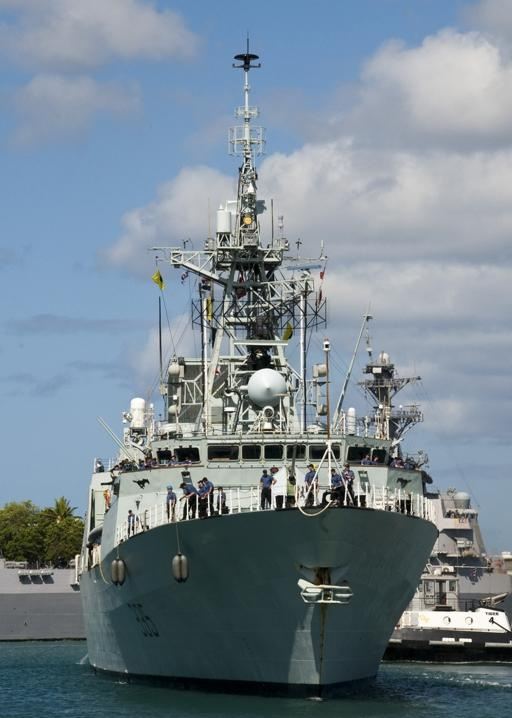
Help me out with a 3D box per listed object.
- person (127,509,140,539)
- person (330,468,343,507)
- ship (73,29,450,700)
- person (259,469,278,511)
[{"bbox_3d":[-2.811,3.788,31.131,0.366,0.332,0.979,-3,33,-5],"label":"person"},{"bbox_3d":[1.685,2.638,28.281,0.273,0.785,0.840,2,-10,4],"label":"person"},{"bbox_3d":[0.913,-0.350,32.680,8.421,16.224,15.868,4,-10,-10],"label":"ship"},{"bbox_3d":[0.240,2.739,28.613,0.275,0.807,0.365,3,-10,-3],"label":"person"}]
